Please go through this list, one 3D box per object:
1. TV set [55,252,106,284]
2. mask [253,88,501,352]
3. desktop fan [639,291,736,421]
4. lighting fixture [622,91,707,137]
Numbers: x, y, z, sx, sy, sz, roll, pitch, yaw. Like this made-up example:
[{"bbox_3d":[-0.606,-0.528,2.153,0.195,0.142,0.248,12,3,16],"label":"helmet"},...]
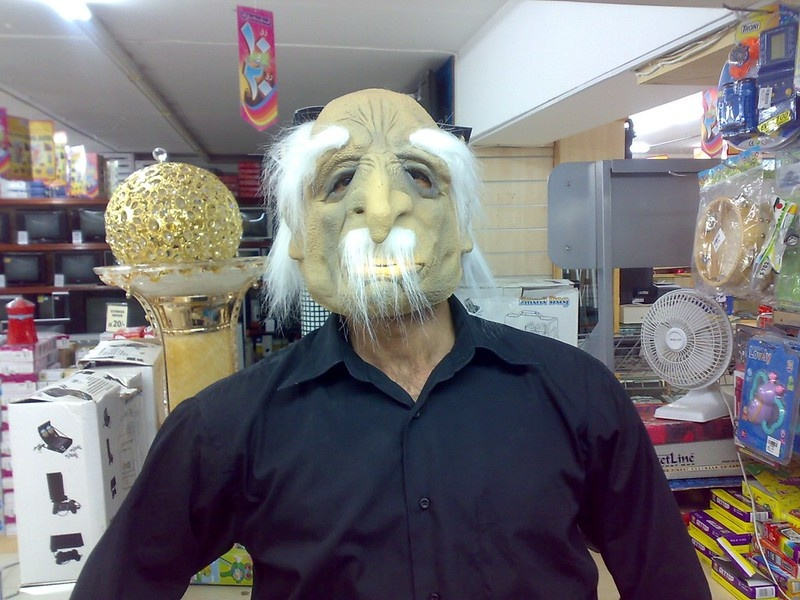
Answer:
[{"bbox_3d":[-2.047,-0.209,4.097,0.258,0.237,0.148,-1,-2,-10],"label":"TV set"},{"bbox_3d":[-0.074,-0.112,1.625,0.434,0.475,0.592,-3,-31,-3],"label":"mask"},{"bbox_3d":[1.007,0.176,2.223,0.232,0.419,0.299,-8,5,-32],"label":"desktop fan"},{"bbox_3d":[1.805,-1.264,4.405,0.521,0.159,0.617,-5,3,3],"label":"lighting fixture"}]
